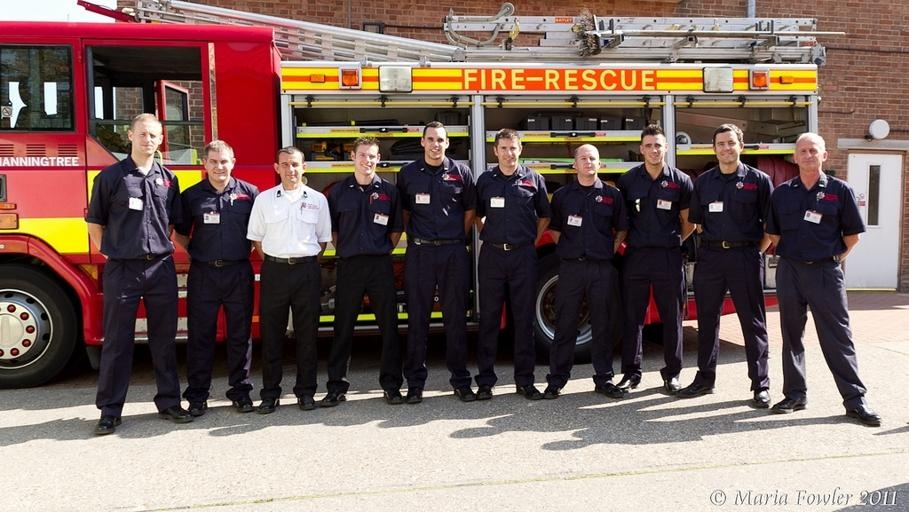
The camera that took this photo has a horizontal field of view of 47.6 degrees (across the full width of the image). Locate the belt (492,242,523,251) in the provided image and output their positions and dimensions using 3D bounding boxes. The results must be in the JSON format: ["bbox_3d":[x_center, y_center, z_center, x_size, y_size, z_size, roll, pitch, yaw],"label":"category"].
[{"bbox_3d":[0.630,-0.113,12.580,0.307,0.097,0.061,-2,-9,11],"label":"belt"}]

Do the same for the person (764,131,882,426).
[{"bbox_3d":[4.278,0.280,12.145,1.100,3.404,0.664,-3,-10,15],"label":"person"}]

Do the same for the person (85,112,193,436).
[{"bbox_3d":[-3.763,0.224,12.106,0.878,3.683,0.824,-2,-10,9],"label":"person"}]

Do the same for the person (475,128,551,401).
[{"bbox_3d":[0.660,0.114,12.703,0.787,3.258,0.776,8,-12,-40],"label":"person"}]

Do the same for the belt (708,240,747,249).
[{"bbox_3d":[3.296,-0.142,12.455,0.411,0.095,0.077,-3,-9,18],"label":"belt"}]

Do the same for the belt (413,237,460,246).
[{"bbox_3d":[-0.220,-0.180,12.542,0.563,0.081,0.073,0,-8,-4],"label":"belt"}]

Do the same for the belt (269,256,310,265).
[{"bbox_3d":[-1.989,0.048,12.359,0.548,0.121,0.093,1,-9,-9],"label":"belt"}]
